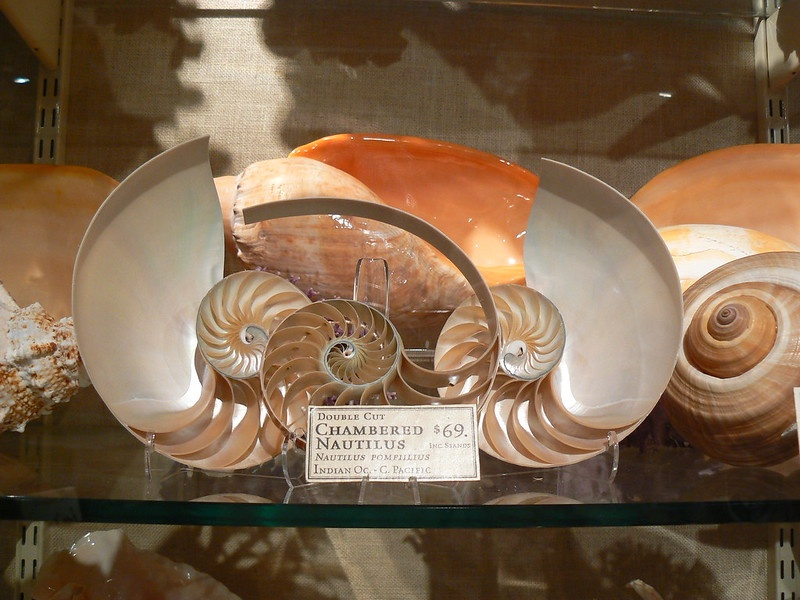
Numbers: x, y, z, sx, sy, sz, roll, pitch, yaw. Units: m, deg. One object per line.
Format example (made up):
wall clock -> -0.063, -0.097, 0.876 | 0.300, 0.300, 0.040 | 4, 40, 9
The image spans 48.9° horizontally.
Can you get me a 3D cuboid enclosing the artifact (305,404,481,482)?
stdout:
artifact -> -0.009, 0.185, 1.142 | 0.221, 0.020, 0.096 | 0, 84, -2
